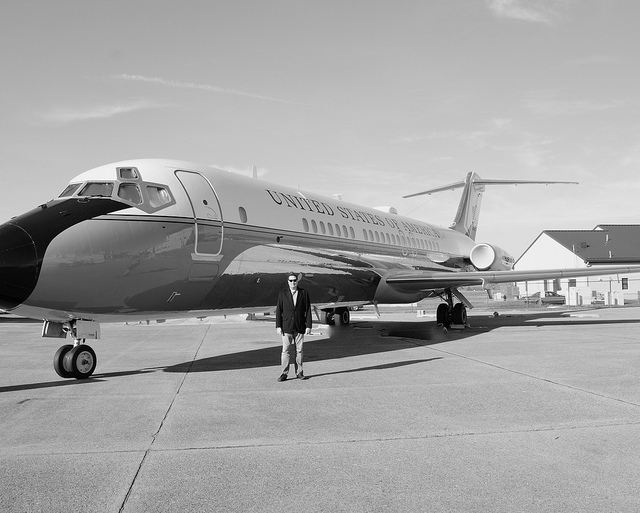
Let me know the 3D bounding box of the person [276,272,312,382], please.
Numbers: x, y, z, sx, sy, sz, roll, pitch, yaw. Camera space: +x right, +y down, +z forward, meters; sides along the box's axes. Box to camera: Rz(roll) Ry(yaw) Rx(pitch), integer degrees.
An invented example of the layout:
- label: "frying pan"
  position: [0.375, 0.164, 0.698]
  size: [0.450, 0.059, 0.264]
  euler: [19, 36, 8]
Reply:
- label: "person"
  position: [-0.429, 1.125, 7.739]
  size: [0.562, 1.635, 0.691]
  euler: [-2, -3, -4]

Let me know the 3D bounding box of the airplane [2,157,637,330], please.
- label: "airplane"
  position: [-0.968, -0.200, 10.813]
  size: [11.041, 3.009, 2.825]
  euler: [1, -3, -38]
